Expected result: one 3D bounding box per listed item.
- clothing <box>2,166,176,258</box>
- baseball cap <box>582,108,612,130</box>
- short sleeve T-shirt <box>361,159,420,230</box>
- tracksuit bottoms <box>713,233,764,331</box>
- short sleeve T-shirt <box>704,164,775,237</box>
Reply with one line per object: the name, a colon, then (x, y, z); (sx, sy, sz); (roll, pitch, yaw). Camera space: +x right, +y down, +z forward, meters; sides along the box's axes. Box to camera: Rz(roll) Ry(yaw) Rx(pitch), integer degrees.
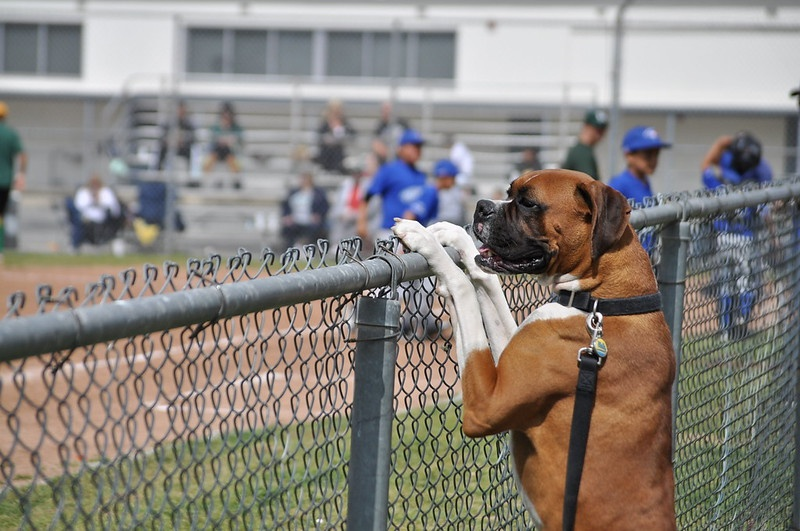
clothing: (-5.328, -0.768, 32.119); (2.343, 1.325, 1.499); (-11, 7, -39)
baseball cap: (2.937, -2.247, 27.669); (0.425, 0.279, 0.331); (19, 17, 32)
short sleeve T-shirt: (-0.003, -1.004, 27.675); (1.109, 1.196, 0.418); (10, -16, -16)
tracksuit bottoms: (4.202, 0.221, 22.829); (0.283, 1.184, 0.708); (4, 4, -2)
short sleeve T-shirt: (4.270, -0.855, 23.085); (0.748, 0.256, 0.834); (-9, 13, 11)
